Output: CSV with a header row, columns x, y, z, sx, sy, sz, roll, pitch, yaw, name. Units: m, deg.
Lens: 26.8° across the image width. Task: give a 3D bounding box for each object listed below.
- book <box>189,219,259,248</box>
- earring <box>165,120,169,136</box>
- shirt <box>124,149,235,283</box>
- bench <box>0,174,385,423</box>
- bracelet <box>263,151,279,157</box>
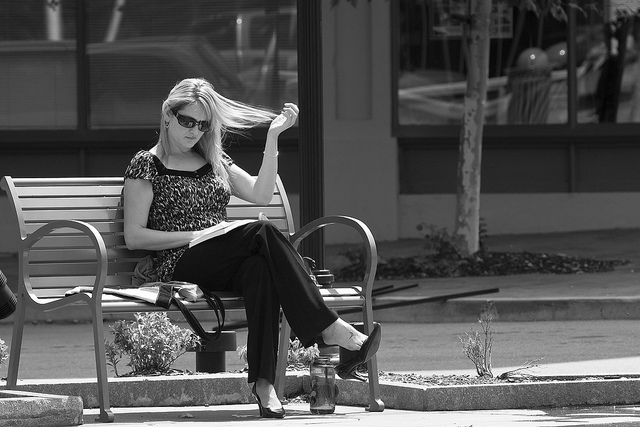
x,y,z,sx,sy,sz,roll,pitch,yaw,name
-0.843,0.118,12.394,0.647,0.194,0.685,-2,14,7,book
-1.392,-0.792,12.277,0.039,0.096,0.014,1,10,20,earring
-1.323,-0.100,12.693,0.853,1.414,1.524,1,-35,-12,shirt
-1.261,0.696,12.527,3.297,2.114,2.322,-2,6,-13,bench
-0.460,-0.551,12.704,0.128,0.039,0.351,-1,6,-5,bracelet
